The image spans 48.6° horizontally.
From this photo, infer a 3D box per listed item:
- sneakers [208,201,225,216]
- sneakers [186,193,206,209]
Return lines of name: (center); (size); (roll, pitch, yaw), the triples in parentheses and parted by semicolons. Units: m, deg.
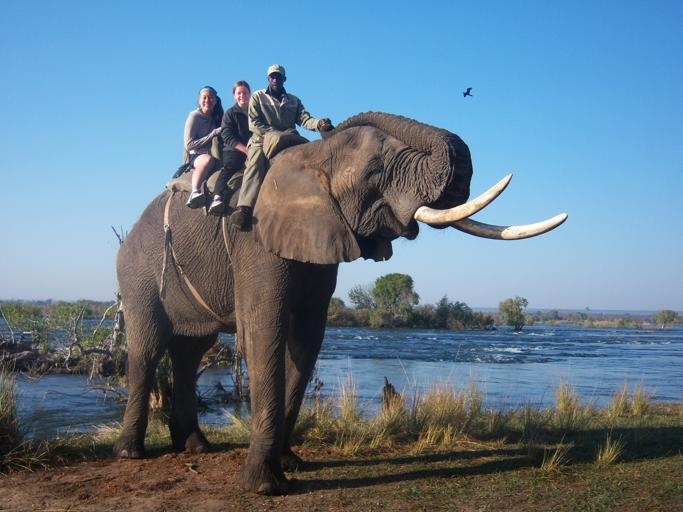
sneakers: (-1.806, -0.674, 10.976); (0.111, 0.166, 0.315); (9, -19, -31)
sneakers: (-2.181, -0.825, 11.307); (0.141, 0.190, 0.353); (12, -24, -43)
